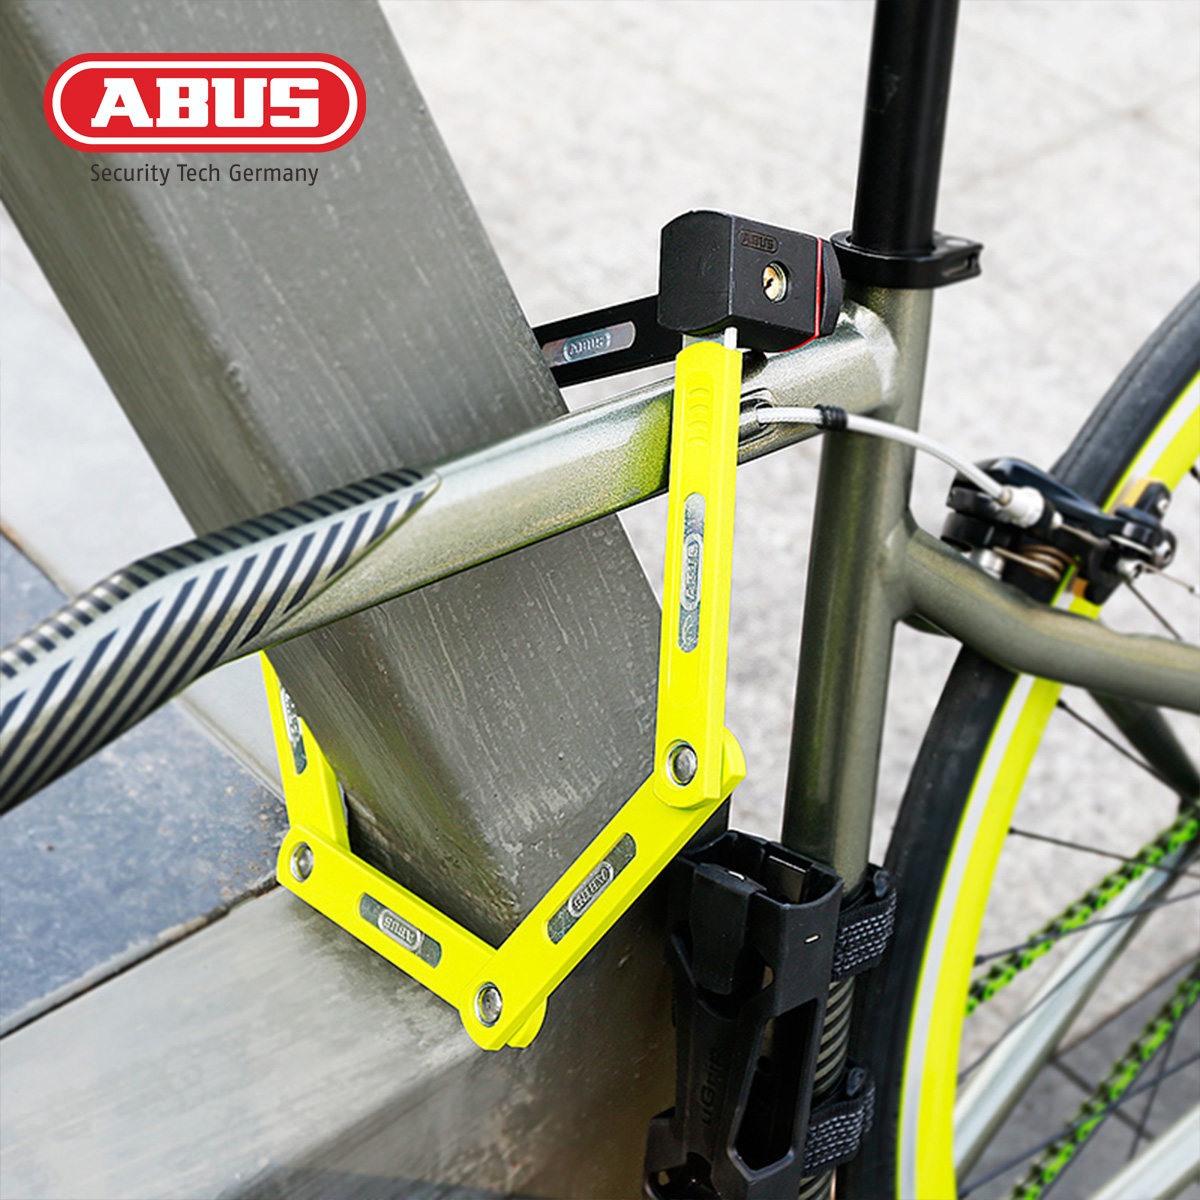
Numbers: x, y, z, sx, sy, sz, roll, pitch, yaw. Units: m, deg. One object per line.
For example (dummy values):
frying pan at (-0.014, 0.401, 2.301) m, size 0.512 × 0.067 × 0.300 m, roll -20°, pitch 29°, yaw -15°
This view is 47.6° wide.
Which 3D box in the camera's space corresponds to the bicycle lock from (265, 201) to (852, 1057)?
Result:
bicycle lock at (-0.066, -0.003, 0.744) m, size 0.097 × 0.342 × 0.419 m, roll 32°, pitch 95°, yaw 49°
